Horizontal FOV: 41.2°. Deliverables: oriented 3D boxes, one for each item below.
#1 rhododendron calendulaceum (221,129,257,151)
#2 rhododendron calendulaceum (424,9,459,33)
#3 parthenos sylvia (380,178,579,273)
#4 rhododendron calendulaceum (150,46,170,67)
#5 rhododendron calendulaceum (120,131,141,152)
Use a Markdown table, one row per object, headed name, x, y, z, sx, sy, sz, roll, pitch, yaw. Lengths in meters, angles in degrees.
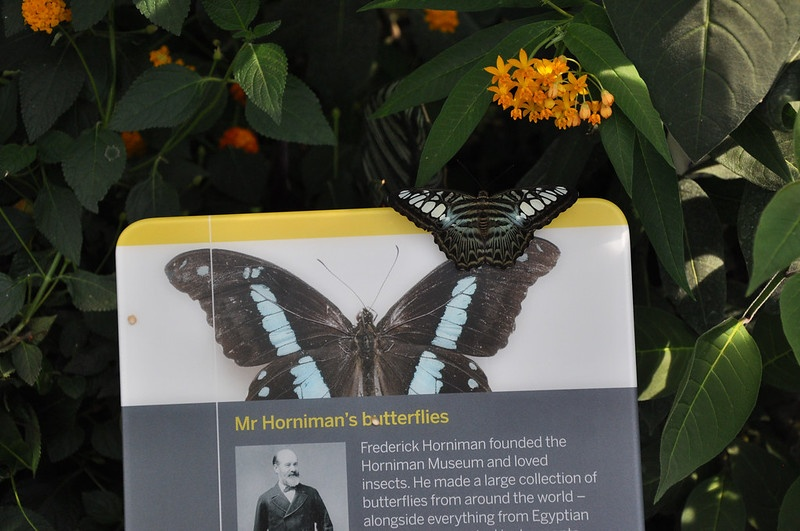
| name | x | y | z | sx | sy | sz | roll | pitch | yaw |
| --- | --- | --- | --- | --- | --- | --- | --- | --- | --- |
| rhododendron calendulaceum | -0.406 | -0.314 | 2.690 | 0.053 | 0.040 | 0.066 | 12 | 1 | 10 |
| rhododendron calendulaceum | 0.102 | -0.617 | 2.711 | 0.087 | 0.060 | 0.033 | -3 | 6 | 6 |
| parthenos sylvia | 0.169 | -0.089 | 2.178 | 0.326 | 0.183 | 0.278 | -2 | 21 | -3 |
| rhododendron calendulaceum | -0.560 | -0.487 | 2.495 | 0.045 | 0.052 | 0.116 | -5 | 7 | -9 |
| rhododendron calendulaceum | -0.625 | -0.285 | 2.503 | 0.049 | 0.049 | 0.090 | -5 | 7 | -13 |
